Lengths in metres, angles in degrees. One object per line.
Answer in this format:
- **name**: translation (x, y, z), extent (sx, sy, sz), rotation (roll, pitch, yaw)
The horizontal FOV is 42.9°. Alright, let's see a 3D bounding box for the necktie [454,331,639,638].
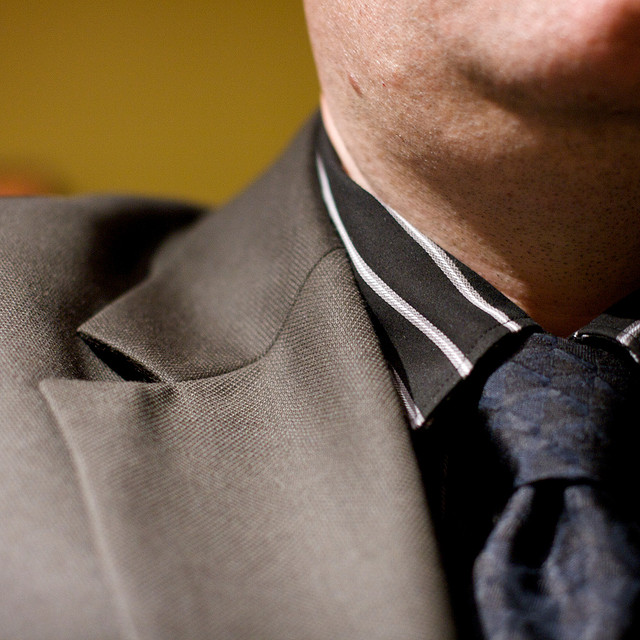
- **necktie**: translation (0.126, 0.096, 0.439), extent (0.088, 0.052, 0.177), rotation (4, 86, 0)
